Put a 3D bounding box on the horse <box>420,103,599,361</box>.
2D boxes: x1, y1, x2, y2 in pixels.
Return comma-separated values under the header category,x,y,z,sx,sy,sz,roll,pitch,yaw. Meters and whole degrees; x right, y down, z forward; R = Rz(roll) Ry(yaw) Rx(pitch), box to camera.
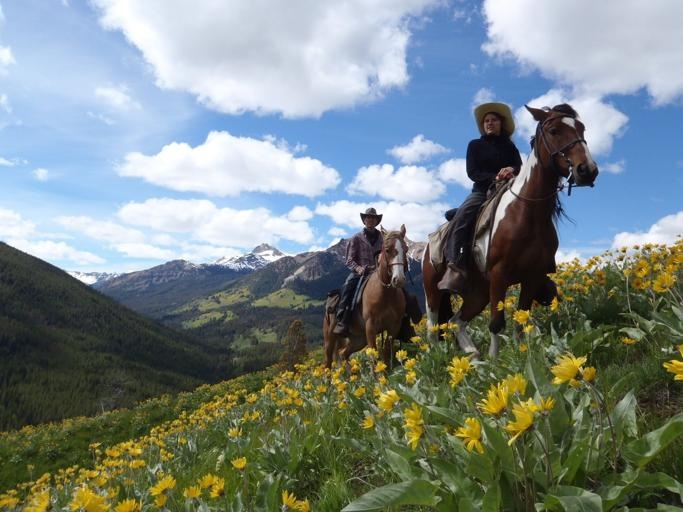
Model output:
category,x,y,z,sx,sy,sz,roll,pitch,yaw
horse,3.041,-0.362,7.980,1.049,4.175,2.216,12,0,-17
